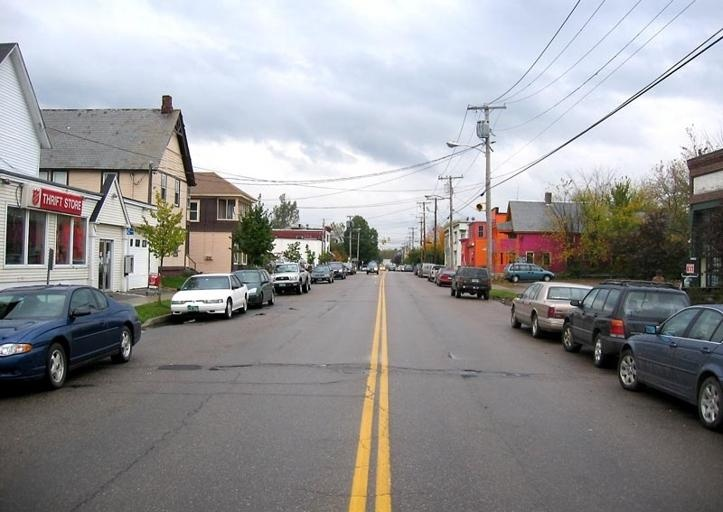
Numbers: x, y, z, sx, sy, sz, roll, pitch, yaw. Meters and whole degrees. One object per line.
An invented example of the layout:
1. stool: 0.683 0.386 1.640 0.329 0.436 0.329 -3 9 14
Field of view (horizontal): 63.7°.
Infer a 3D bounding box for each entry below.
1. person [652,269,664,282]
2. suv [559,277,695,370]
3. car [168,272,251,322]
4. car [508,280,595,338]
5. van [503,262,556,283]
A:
1. person: 14.449 0.862 28.152 0.627 0.757 0.391 4 23 22
2. suv: 5.817 1.449 13.535 1.402 1.382 3.103 1 2 -3
3. car: -5.674 1.492 21.497 1.871 1.632 3.222 1 3 6
4. car: 5.499 1.475 17.352 1.076 0.891 2.741 0 2 -3
5. van: 14.924 1.480 51.132 3.837 1.612 1.873 -2 1 -2
